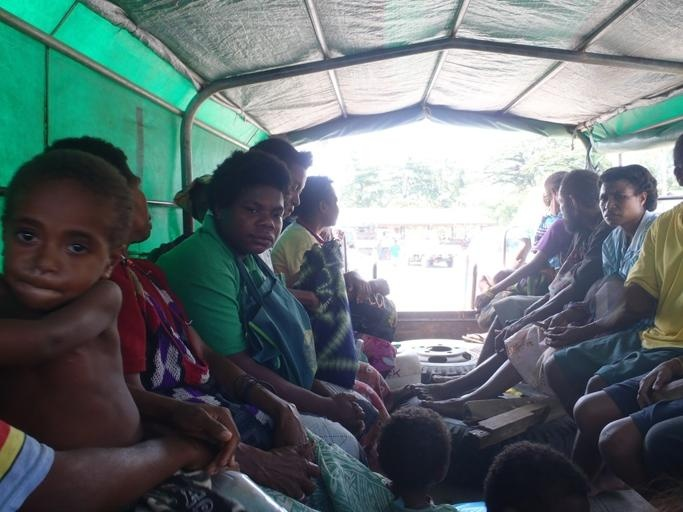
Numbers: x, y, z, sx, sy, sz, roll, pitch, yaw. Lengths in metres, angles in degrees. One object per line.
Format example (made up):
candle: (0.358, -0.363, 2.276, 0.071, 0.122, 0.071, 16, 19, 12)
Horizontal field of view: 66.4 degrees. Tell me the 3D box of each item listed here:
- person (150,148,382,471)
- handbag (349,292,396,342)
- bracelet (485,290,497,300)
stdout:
person: (-0.361, 0.222, 2.858, 1.306, 1.397, 0.929, 6, 2, 13)
handbag: (0.345, 0.509, 4.174, 0.420, 0.389, 0.317, -2, -6, 20)
bracelet: (1.670, 0.426, 5.660, 0.094, 0.021, 0.086, -7, 22, -11)
